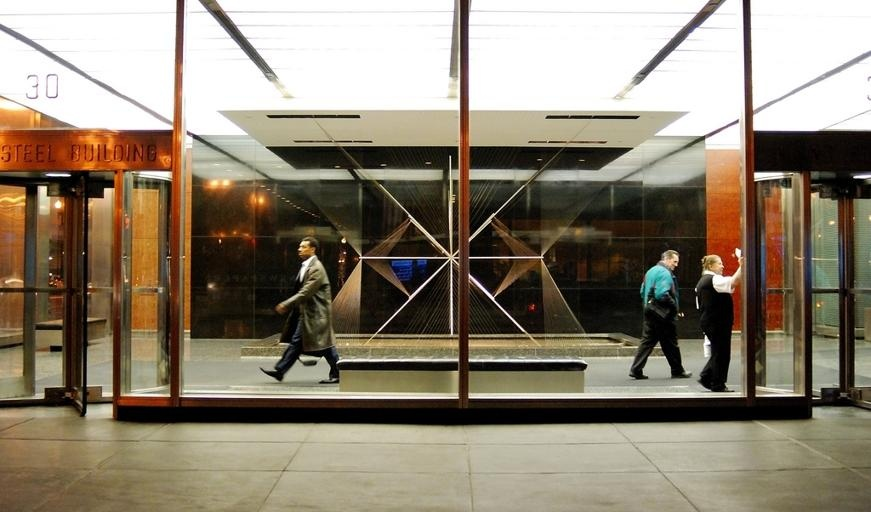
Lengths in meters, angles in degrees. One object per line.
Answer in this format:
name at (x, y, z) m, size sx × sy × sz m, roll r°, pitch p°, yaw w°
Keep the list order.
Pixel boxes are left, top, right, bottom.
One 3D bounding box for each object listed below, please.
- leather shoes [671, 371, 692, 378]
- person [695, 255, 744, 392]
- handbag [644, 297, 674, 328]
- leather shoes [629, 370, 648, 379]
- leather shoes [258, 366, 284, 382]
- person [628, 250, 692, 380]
leather shoes at (3.715, 1.788, 11.597) m, size 0.232 × 0.086 × 0.122 m, roll -5°, pitch -5°, yaw 16°
person at (4.260, 0.970, 11.492) m, size 0.663 × 2.064 × 0.301 m, roll -1°, pitch -3°, yaw 15°
handbag at (3.452, 0.829, 11.793) m, size 0.460 × 0.341 × 0.104 m, roll 0°, pitch -3°, yaw -12°
leather shoes at (3.055, 1.813, 11.612) m, size 0.329 × 0.122 × 0.108 m, roll 2°, pitch -7°, yaw -4°
leather shoes at (-2.451, 1.770, 11.715) m, size 0.448 × 0.175 × 0.138 m, roll 23°, pitch -2°, yaw 2°
person at (3.426, 0.890, 11.725) m, size 0.830 × 1.929 × 0.341 m, roll -1°, pitch -3°, yaw 12°
